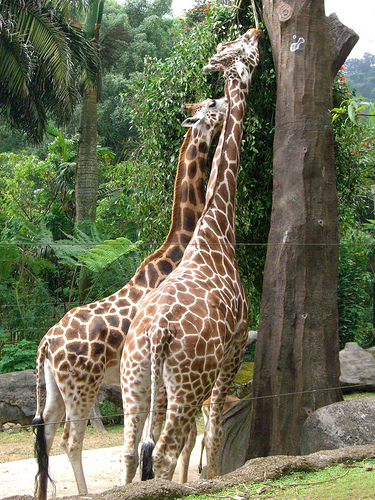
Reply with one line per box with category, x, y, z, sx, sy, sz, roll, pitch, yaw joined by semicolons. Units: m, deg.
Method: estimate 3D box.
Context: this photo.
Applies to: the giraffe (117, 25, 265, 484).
giraffe;0.077;0.027;5.503;1.009;3.772;2.669;-1;-2;6
